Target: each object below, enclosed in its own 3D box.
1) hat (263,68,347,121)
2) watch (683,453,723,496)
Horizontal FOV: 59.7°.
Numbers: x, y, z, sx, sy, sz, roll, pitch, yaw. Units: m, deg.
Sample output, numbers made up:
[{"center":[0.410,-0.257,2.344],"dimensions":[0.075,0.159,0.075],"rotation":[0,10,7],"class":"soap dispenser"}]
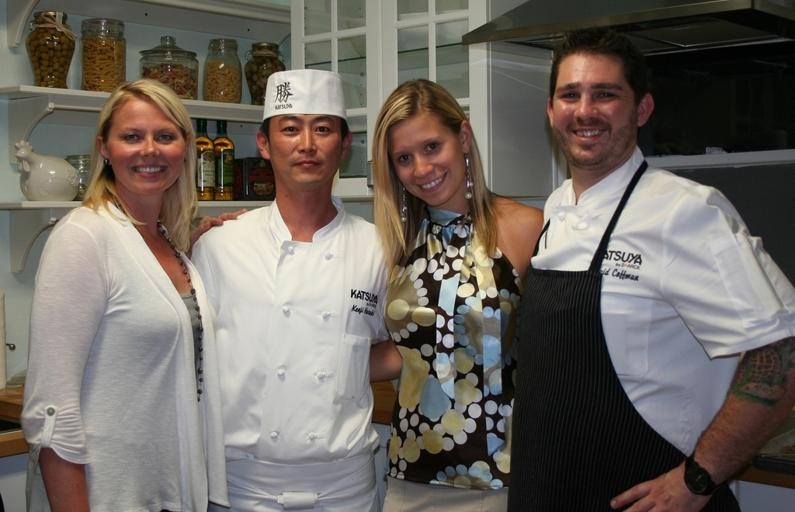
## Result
[{"center":[-0.275,-0.470,2.028],"dimensions":[0.175,0.094,0.175],"rotation":[-1,-2,-6],"class":"hat"},{"center":[0.658,0.480,1.509],"dimensions":[0.066,0.052,0.087],"rotation":[27,13,11],"class":"watch"}]
